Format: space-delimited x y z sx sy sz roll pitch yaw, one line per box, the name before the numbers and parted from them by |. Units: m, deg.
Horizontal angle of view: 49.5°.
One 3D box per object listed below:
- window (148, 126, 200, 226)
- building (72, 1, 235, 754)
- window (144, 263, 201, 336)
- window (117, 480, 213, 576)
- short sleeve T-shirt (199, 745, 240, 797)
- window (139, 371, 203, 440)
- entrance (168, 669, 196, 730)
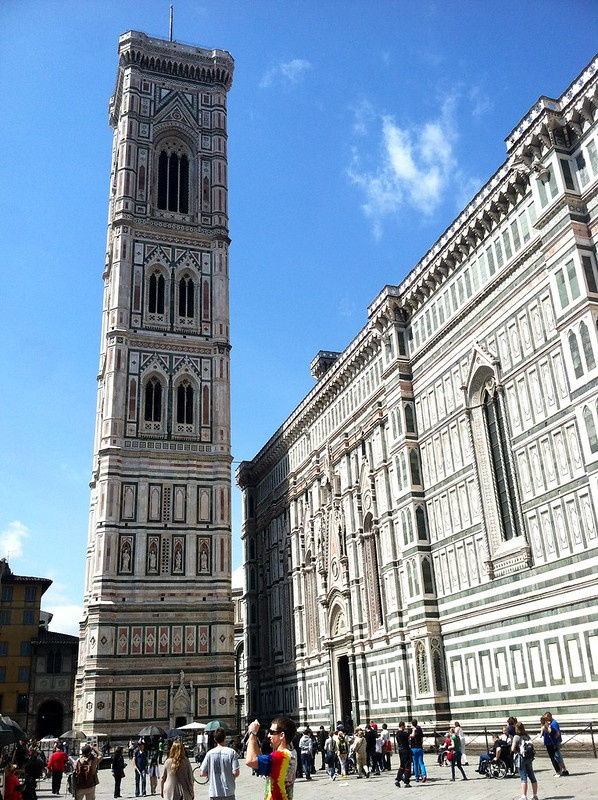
window | -8.921 -16.116 46.107 3.265 7.887 0.594 3 -18 -19
building | -8.241 -3.826 40.925 7.447 44.817 2.944 2 -23 -10
window | -8.064 -6.903 42.826 3.316 4.936 0.373 2 -27 -37
window | -7.728 7.436 37.538 5.540 6.136 0.484 4 -37 -15
short sleeve T-shirt | -0.615 2.834 4.955 0.267 0.345 0.377 1 -25 -9
window | -8.081 0.066 39.945 3.827 0.512 5.042 4 -61 -13
entrance | -6.232 15.908 34.171 1.157 3.459 0.281 1 7 -7
